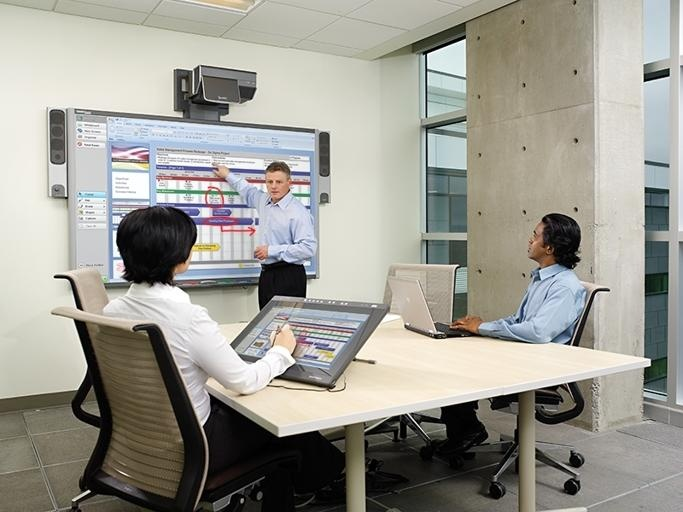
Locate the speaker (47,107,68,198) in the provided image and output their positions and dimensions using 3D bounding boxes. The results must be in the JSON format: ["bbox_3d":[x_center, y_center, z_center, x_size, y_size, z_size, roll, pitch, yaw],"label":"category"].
[{"bbox_3d":[-2.482,-0.903,4.429,0.162,0.755,0.115,-2,10,-27],"label":"speaker"}]

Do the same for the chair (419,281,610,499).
[{"bbox_3d":[1.152,0.809,3.334,1.129,1.182,0.946,-4,-3,0],"label":"chair"}]

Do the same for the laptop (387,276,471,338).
[{"bbox_3d":[0.569,0.316,3.154,0.436,0.324,0.477,2,-1,-17],"label":"laptop"}]

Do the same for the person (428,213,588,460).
[{"bbox_3d":[1.079,0.497,3.317,0.821,1.535,0.800,7,-1,7],"label":"person"}]

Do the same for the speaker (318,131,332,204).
[{"bbox_3d":[-0.191,-0.957,5.508,0.163,0.785,0.120,-1,10,-22],"label":"speaker"}]

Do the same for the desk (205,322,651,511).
[{"bbox_3d":[0.443,0.858,2.628,1.275,0.590,1.240,-1,0,-31],"label":"desk"}]
